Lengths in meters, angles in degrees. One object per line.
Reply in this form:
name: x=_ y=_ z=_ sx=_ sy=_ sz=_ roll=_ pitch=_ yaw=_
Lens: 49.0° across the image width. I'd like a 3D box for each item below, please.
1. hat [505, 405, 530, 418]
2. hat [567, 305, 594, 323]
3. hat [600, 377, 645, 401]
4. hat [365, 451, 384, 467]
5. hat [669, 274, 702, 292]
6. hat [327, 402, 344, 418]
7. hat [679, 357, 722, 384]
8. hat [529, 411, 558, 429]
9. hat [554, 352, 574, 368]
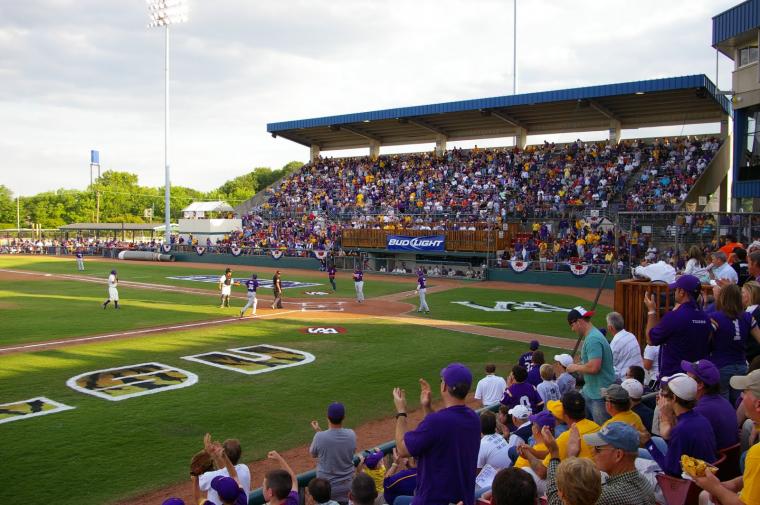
hat: x=3.452 y=3.849 z=20.255 sx=0.475 sy=0.353 sz=0.525 roll=-1 pitch=9 yaw=1
hat: x=5.075 y=1.538 z=21.046 sx=0.656 sy=0.355 sz=0.437 roll=-21 pitch=-4 yaw=15
hat: x=5.677 y=3.135 z=19.420 sx=0.826 sy=0.409 sz=0.537 roll=8 pitch=9 yaw=33
hat: x=-0.148 y=4.803 z=19.385 sx=0.446 sy=0.343 sz=0.276 roll=-6 pitch=11 yaw=-28
hat: x=7.564 y=0.726 z=20.486 sx=0.503 sy=0.396 sz=0.665 roll=-1 pitch=9 yaw=0
hat: x=-1.026 y=3.710 z=19.396 sx=0.368 sy=0.494 sz=0.476 roll=-2 pitch=10 yaw=-3
hat: x=7.150 y=2.574 z=18.416 sx=0.745 sy=0.363 sz=0.477 roll=23 pitch=31 yaw=31
hat: x=3.721 y=3.715 z=18.677 sx=0.492 sy=0.265 sz=0.358 roll=9 pitch=19 yaw=32
hat: x=5.020 y=2.944 z=22.520 sx=0.535 sy=0.285 sz=0.400 roll=21 pitch=27 yaw=37
